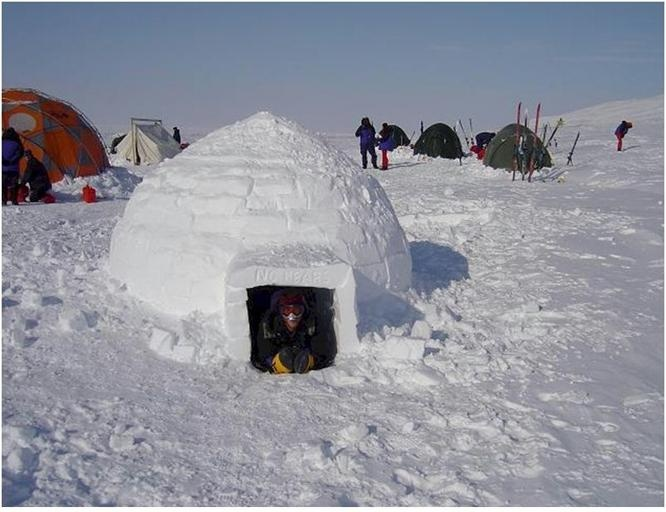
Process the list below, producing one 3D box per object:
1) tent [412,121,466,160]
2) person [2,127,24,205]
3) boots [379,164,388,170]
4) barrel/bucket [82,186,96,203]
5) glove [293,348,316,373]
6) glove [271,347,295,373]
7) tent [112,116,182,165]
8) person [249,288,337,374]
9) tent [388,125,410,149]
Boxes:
[{"bbox_3d":[3.736,-4.025,20.153,1.648,1.246,0.750,2,9,28],"label":"tent"},{"bbox_3d":[-6.318,-1.764,11.254,0.432,1.501,0.788,-6,9,-32],"label":"person"},{"bbox_3d":[1.567,-2.780,17.749,0.173,0.161,0.166,13,26,26],"label":"boots"},{"bbox_3d":[-5.276,-1.340,12.404,0.225,0.369,0.297,-6,9,-30],"label":"barrel/bucket"},{"bbox_3d":[-0.310,1.142,6.134,0.155,0.280,0.121,2,-16,2],"label":"glove"},{"bbox_3d":[-0.532,1.123,6.097,0.161,0.206,0.307,1,6,-6],"label":"glove"},{"bbox_3d":[-6.410,-3.919,19.839,2.064,1.482,1.491,-3,8,-9],"label":"tent"},{"bbox_3d":[-0.442,0.784,6.430,1.023,0.867,0.841,-5,8,-26],"label":"person"},{"bbox_3d":[2.976,-5.287,25.213,0.764,0.972,1.453,-1,8,8],"label":"tent"}]
